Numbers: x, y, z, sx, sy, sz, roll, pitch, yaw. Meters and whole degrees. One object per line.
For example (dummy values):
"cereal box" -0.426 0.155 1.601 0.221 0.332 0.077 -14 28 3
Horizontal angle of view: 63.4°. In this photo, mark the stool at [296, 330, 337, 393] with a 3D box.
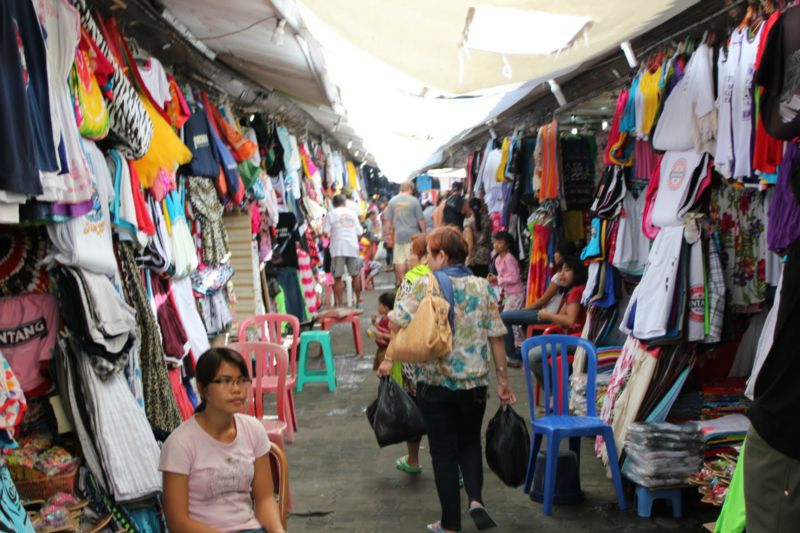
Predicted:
"stool" -1.044 1.153 7.987 0.625 0.973 0.666 0 -5 -6

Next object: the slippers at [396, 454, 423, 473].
"slippers" 0.064 1.681 5.462 0.105 0.124 0.247 0 2 -27

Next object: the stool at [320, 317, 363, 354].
"stool" -0.808 0.940 9.115 0.527 0.563 0.564 -2 -1 -8

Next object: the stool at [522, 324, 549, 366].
"stool" 1.440 0.863 7.252 0.371 0.548 0.397 -1 -5 -4

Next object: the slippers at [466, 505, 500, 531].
"slippers" 0.554 1.699 4.346 0.183 0.182 0.063 -3 3 -22
